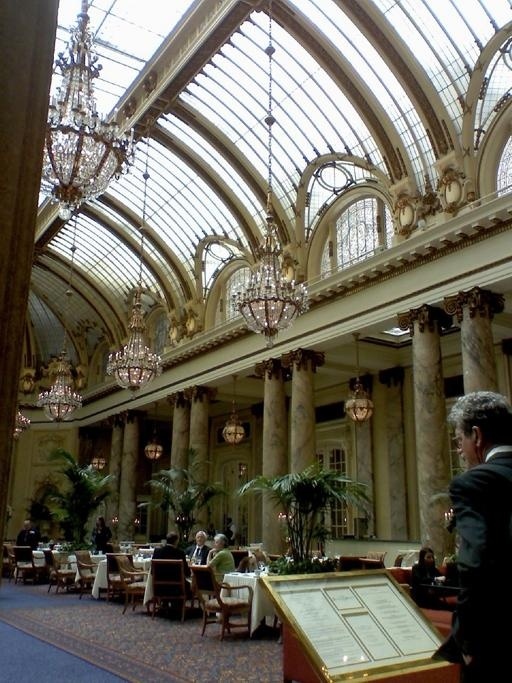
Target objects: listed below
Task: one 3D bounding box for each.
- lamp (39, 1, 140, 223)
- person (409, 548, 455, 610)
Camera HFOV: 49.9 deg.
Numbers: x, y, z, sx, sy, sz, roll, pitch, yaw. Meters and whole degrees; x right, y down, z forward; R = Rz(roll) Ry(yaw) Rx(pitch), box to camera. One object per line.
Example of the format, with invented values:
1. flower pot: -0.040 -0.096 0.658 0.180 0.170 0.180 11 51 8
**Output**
1. lamp: -2.052 -3.092 6.826 0.960 2.751 0.916 5 -16 -23
2. person: 1.994 2.728 6.230 0.331 0.740 0.505 18 -34 -17
